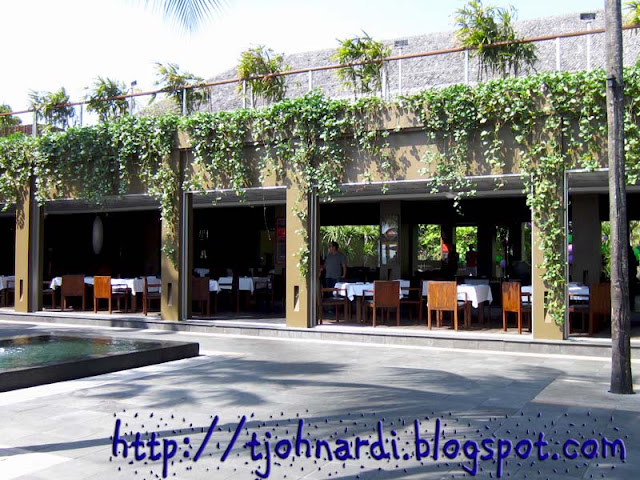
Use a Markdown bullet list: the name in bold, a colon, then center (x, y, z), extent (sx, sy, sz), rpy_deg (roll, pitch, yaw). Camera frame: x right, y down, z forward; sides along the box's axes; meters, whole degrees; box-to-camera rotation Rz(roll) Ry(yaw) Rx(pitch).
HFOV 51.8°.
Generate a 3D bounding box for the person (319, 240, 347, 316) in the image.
- **person**: center (0.240, 0.758, 14.638), extent (0.607, 1.566, 0.355), rpy_deg (-8, 29, -13)
